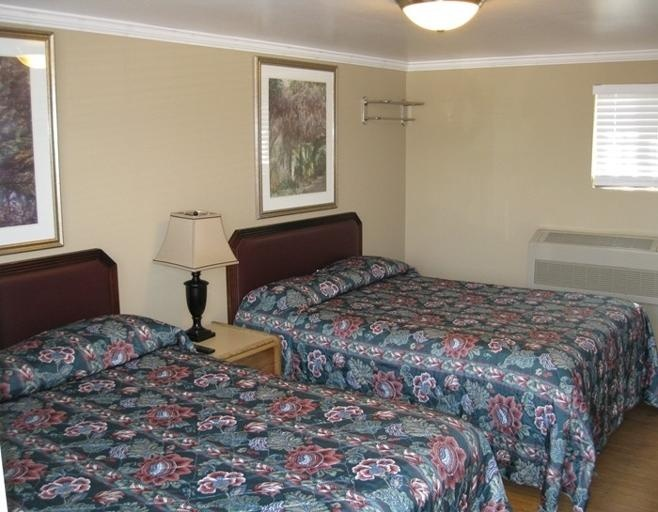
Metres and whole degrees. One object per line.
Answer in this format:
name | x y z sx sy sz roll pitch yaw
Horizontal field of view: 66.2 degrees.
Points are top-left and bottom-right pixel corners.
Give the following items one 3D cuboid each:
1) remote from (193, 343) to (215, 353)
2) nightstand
remote | -0.835 0.616 3.407 0.198 0.029 0.059 12 30 35
nightstand | -0.658 0.598 3.608 0.431 0.293 0.386 7 13 39
